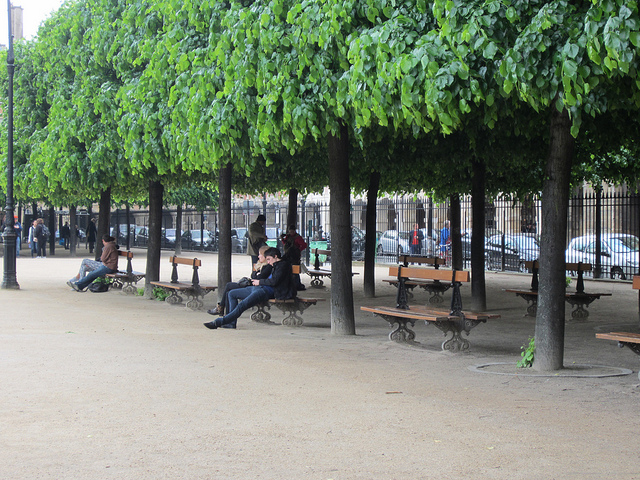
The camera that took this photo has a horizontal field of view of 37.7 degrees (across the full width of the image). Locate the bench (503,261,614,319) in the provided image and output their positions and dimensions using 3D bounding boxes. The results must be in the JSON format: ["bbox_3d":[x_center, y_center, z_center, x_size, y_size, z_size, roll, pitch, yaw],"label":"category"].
[{"bbox_3d":[4.738,1.009,18.275,0.817,1.022,1.833,11,-7,-38],"label":"bench"}]

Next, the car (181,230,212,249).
[{"bbox_3d":[-6.681,-0.061,50.007,0.869,0.882,1.936,0,-5,-32],"label":"car"}]

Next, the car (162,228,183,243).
[{"bbox_3d":[-8.643,-0.282,53.161,1.019,0.903,1.674,-3,-1,-34],"label":"car"}]

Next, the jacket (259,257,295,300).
[{"bbox_3d":[-0.765,0.608,15.504,0.586,0.729,0.453,15,24,40],"label":"jacket"}]

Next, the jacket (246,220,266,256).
[{"bbox_3d":[-1.523,0.033,22.075,0.291,0.993,0.333,2,-20,9],"label":"jacket"}]

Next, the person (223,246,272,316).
[{"bbox_3d":[-1.314,0.693,15.914,0.990,1.411,0.930,1,-5,-21],"label":"person"}]

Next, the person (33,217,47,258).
[{"bbox_3d":[-11.762,-0.037,38.930,0.561,1.620,2.336,-1,5,-17],"label":"person"}]

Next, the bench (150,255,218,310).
[{"bbox_3d":[-2.722,0.842,18.565,0.722,0.981,1.791,1,0,-28],"label":"bench"}]

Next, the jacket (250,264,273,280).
[{"bbox_3d":[-0.912,0.531,15.565,0.285,0.125,0.287,-18,9,-38],"label":"jacket"}]

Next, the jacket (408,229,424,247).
[{"bbox_3d":[3.638,-0.038,35.441,0.524,0.758,0.500,1,-4,13],"label":"jacket"}]

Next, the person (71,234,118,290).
[{"bbox_3d":[-5.235,0.457,21.233,1.094,1.287,0.537,-3,17,-28],"label":"person"}]

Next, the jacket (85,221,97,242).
[{"bbox_3d":[-10.090,-0.315,40.871,0.377,0.921,1.108,-1,5,-15],"label":"jacket"}]

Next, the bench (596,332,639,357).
[{"bbox_3d":[3.818,1.282,11.740,0.533,0.247,0.493,3,5,35],"label":"bench"}]

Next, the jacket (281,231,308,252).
[{"bbox_3d":[-0.641,0.042,22.405,0.508,0.420,1.086,0,4,-1],"label":"jacket"}]

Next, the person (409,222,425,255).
[{"bbox_3d":[3.628,0.020,35.371,0.537,1.279,0.316,0,34,7],"label":"person"}]

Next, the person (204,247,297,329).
[{"bbox_3d":[-1.127,0.782,15.329,1.536,1.431,0.737,2,-8,-18],"label":"person"}]

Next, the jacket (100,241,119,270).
[{"bbox_3d":[-4.848,0.358,21.349,0.357,0.646,0.636,-1,5,-14],"label":"jacket"}]

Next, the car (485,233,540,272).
[{"bbox_3d":[6.279,0.368,30.853,1.379,1.162,2.277,-1,-3,-42],"label":"car"}]

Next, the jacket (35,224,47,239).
[{"bbox_3d":[-11.659,-0.299,38.311,0.380,0.743,0.725,0,-1,23],"label":"jacket"}]
